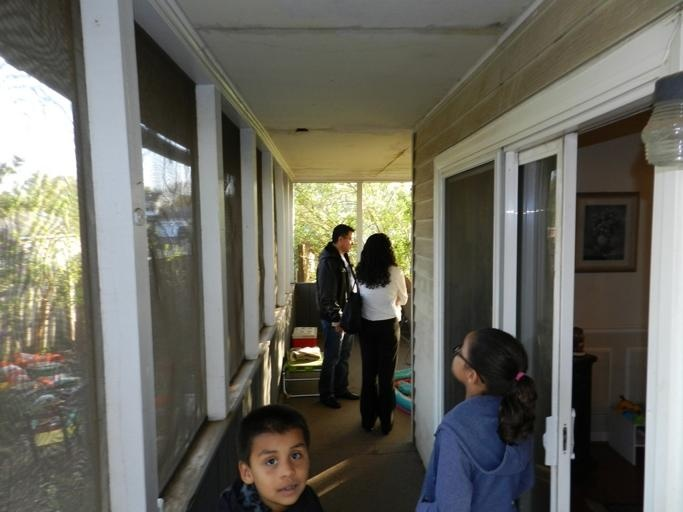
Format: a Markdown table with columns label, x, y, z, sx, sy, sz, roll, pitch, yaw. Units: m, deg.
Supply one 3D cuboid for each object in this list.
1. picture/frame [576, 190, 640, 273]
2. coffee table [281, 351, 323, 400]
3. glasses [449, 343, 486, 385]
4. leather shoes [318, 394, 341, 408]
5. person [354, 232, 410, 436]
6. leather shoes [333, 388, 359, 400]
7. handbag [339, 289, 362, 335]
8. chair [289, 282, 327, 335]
| label | x | y | z | sx | sy | sz | roll | pitch | yaw |
| --- | --- | --- | --- | --- | --- | --- | --- | --- | --- |
| picture/frame | 2.121 | -0.221 | 3.976 | 0.611 | 0.808 | 0.059 | -1 | 14 | 4 |
| coffee table | -0.449 | 1.335 | 5.475 | 0.363 | 0.205 | 0.556 | 1 | 2 | -1 |
| glasses | 0.507 | 0.438 | 2.022 | 0.096 | 0.034 | 0.125 | 33 | 15 | -36 |
| leather shoes | -0.102 | 1.456 | 4.978 | 0.093 | 0.078 | 0.191 | 4 | -9 | -44 |
| person | 0.344 | 0.686 | 4.294 | 0.422 | 1.745 | 0.388 | -1 | -1 | 4 |
| leather shoes | 0.051 | 1.452 | 5.219 | 0.274 | 0.117 | 0.096 | 0 | -4 | 1 |
| handbag | 0.081 | 0.483 | 4.238 | 0.169 | 0.370 | 0.168 | -1 | -1 | 20 |
| chair | -0.701 | 0.815 | 8.207 | 0.493 | 0.779 | 0.489 | 1 | -6 | -16 |
